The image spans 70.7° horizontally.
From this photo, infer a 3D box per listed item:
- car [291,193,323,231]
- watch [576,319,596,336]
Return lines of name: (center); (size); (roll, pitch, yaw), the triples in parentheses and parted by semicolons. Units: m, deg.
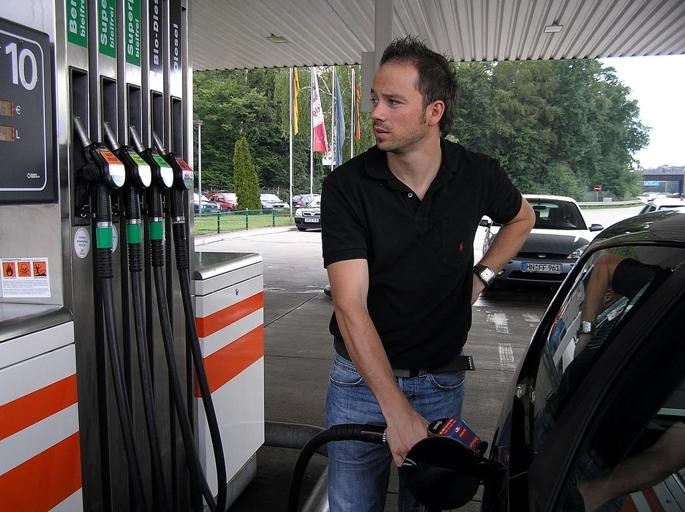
car: (-1.674, -2.067, 23.137); (1.484, 1.285, 3.672); (-1, 3, 3)
watch: (0.661, 0.195, 1.315); (0.037, 0.039, 0.041); (5, -13, 25)
